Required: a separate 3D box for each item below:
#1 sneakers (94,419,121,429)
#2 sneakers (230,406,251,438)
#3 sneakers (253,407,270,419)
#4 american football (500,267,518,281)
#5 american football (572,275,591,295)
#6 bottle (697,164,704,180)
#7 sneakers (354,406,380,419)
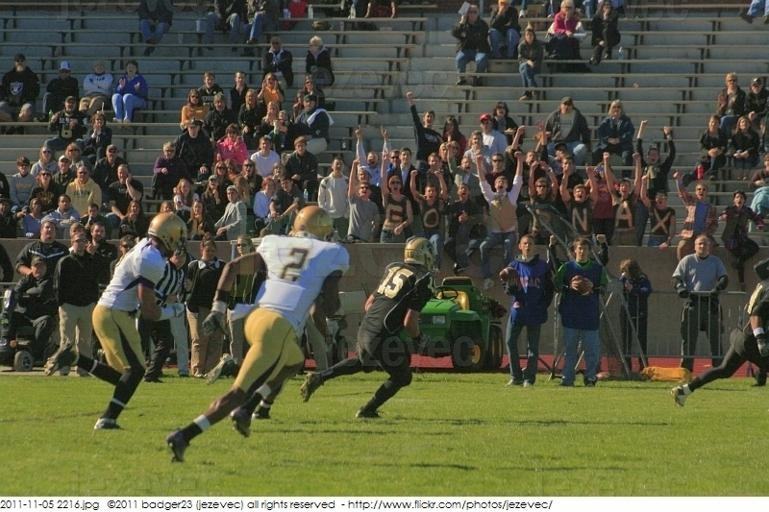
[{"bbox_3d":[-4.862,3.012,32.571,0.355,0.126,0.208,6,-7,-11],"label":"sneakers"},{"bbox_3d":[-2.421,2.857,31.396,0.271,0.526,0.255,-13,-3,-4],"label":"sneakers"},{"bbox_3d":[-2.193,2.854,33.127,0.284,0.256,0.192,13,18,-10],"label":"sneakers"},{"bbox_3d":[2.442,0.381,36.658,0.315,0.253,0.252,-34,19,-29],"label":"american football"},{"bbox_3d":[3.876,0.629,36.562,0.409,0.373,0.195,5,4,5],"label":"american football"},{"bbox_3d":[7.217,-1.876,42.519,0.148,0.351,0.400,6,4,19],"label":"bottle"},{"bbox_3d":[-0.301,2.874,33.467,0.453,0.220,0.271,4,4,-5],"label":"sneakers"}]
